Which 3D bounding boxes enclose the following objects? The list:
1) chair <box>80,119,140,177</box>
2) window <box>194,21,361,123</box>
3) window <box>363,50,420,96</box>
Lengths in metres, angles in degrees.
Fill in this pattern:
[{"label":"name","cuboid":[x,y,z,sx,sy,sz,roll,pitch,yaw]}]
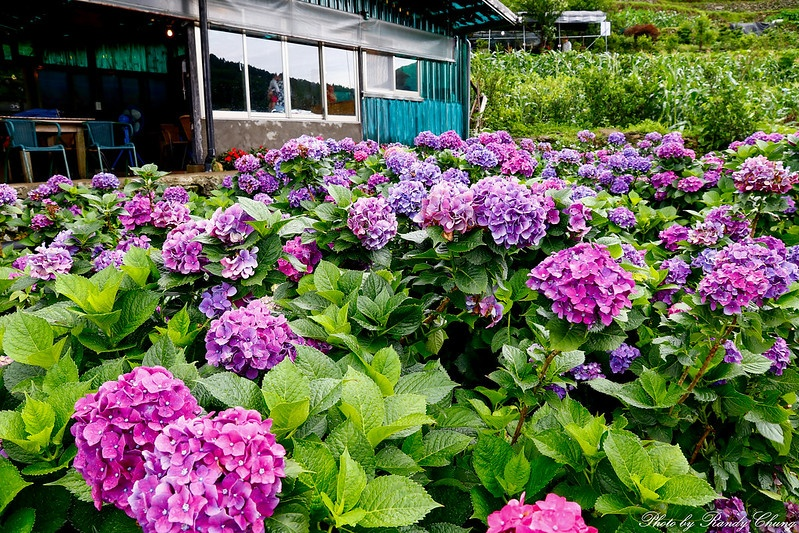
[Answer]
[{"label":"chair","cuboid":[-4.416,-1.858,9.031,0.665,0.830,0.712,10,25,29]},{"label":"window","cuboid":[-1.917,-3.158,9.883,3.065,1.429,0.108,-13,14,-40]},{"label":"window","cuboid":[-0.117,-3.768,11.449,1.447,0.835,0.124,-11,17,-41]}]
